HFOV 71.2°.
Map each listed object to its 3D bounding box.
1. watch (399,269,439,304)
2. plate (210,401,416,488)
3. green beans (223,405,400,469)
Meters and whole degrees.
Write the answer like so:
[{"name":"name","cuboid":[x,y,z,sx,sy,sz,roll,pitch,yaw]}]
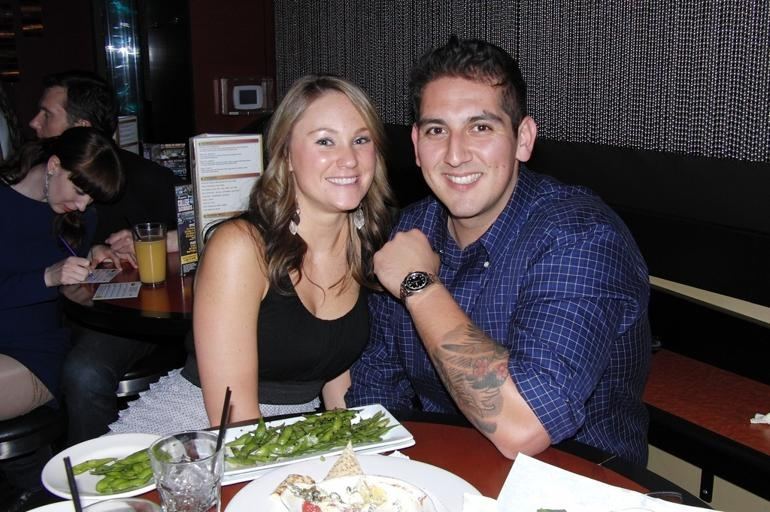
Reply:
[{"name":"watch","cuboid":[0.111,0.093,1.778,0.114,0.110,0.076,-15,63,9]},{"name":"plate","cuboid":[-0.208,0.489,1.432,0.327,0.046,0.205,-6,22,-16]},{"name":"green beans","cuboid":[-0.210,0.486,1.438,0.288,0.034,0.173,-11,20,-18]}]
